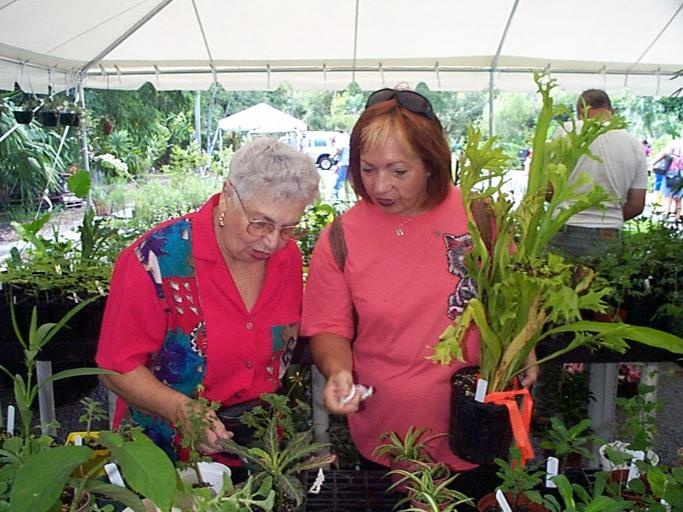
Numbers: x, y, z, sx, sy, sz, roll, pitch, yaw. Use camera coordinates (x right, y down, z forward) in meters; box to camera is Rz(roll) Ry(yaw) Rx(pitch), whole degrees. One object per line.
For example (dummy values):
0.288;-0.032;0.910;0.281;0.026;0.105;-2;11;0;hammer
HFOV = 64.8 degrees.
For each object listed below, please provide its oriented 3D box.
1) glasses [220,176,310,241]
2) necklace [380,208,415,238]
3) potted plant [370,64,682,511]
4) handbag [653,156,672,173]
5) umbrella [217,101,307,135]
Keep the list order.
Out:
-0.285;-0.160;1.868;0.259;0.206;0.094;1;6;-3;glasses
0.221;-0.126;2.093;0.108;0.100;0.043;-4;-13;2;necklace
0.650;-0.016;1.835;0.664;1.230;0.803;3;6;7;potted plant
4.628;-1.304;7.718;0.107;0.234;0.150;-3;38;-50;handbag
-1.214;-2.101;8.193;1.318;0.504;0.580;1;5;-2;umbrella
